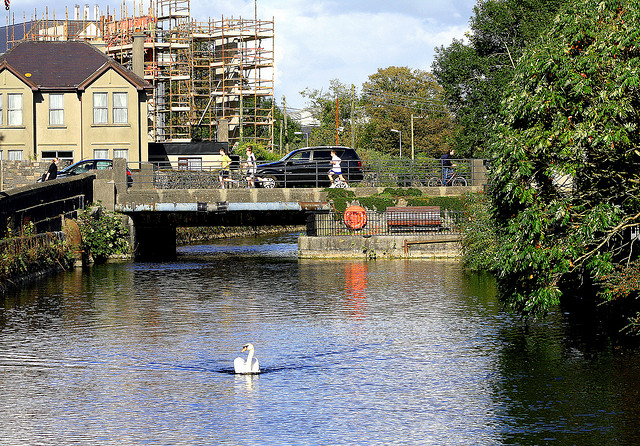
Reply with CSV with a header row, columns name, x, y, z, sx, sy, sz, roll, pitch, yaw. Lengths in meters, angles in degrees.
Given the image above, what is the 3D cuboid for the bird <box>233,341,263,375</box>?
name,x,y,z,sx,sy,sz,roll,pitch,yaw
bird,-1.792,3.288,33.473,0.771,0.732,0.528,8,14,37

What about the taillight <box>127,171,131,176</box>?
name,x,y,z,sx,sy,sz,roll,pitch,yaw
taillight,-8.556,-2.194,60.954,0.140,0.138,0.142,0,1,28

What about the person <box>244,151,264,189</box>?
name,x,y,z,sx,sy,sz,roll,pitch,yaw
person,-2.948,-2.313,59.788,0.711,1.570,1.094,0,8,-3

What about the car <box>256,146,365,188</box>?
name,x,y,z,sx,sy,sz,roll,pitch,yaw
car,-0.451,-2.509,61.007,4.499,1.719,1.968,1,-2,-4

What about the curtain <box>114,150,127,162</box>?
name,x,y,z,sx,sy,sz,roll,pitch,yaw
curtain,-10.890,-3.736,74.303,0.675,0.406,0.239,-1,8,-9

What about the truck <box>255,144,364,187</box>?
name,x,y,z,sx,sy,sz,roll,pitch,yaw
truck,-0.534,-2.462,60.823,4.293,1.722,1.999,2,-3,-4

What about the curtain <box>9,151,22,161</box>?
name,x,y,z,sx,sy,sz,roll,pitch,yaw
curtain,-16.393,-3.559,73.132,0.746,0.661,0.060,0,3,1

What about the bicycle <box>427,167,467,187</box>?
name,x,y,z,sx,sy,sz,roll,pitch,yaw
bicycle,6.090,-2.135,66.280,1.881,1.152,0.948,-2,8,8

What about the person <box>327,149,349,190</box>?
name,x,y,z,sx,sy,sz,roll,pitch,yaw
person,0.707,-2.293,59.827,0.877,1.726,1.528,1,8,2

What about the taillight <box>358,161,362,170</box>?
name,x,y,z,sx,sy,sz,roll,pitch,yaw
taillight,1.729,-2.569,61.419,0.134,0.401,0.419,2,8,10

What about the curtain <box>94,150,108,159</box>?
name,x,y,z,sx,sy,sz,roll,pitch,yaw
curtain,-11.928,-3.680,73.864,0.698,0.724,0.054,0,-1,-7

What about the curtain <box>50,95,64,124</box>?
name,x,y,z,sx,sy,sz,roll,pitch,yaw
curtain,-14.265,-6.094,73.819,0.753,1.547,0.229,0,8,-5

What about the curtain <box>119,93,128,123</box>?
name,x,y,z,sx,sy,sz,roll,pitch,yaw
curtain,-10.691,-6.219,74.052,0.469,1.541,0.173,2,8,13
